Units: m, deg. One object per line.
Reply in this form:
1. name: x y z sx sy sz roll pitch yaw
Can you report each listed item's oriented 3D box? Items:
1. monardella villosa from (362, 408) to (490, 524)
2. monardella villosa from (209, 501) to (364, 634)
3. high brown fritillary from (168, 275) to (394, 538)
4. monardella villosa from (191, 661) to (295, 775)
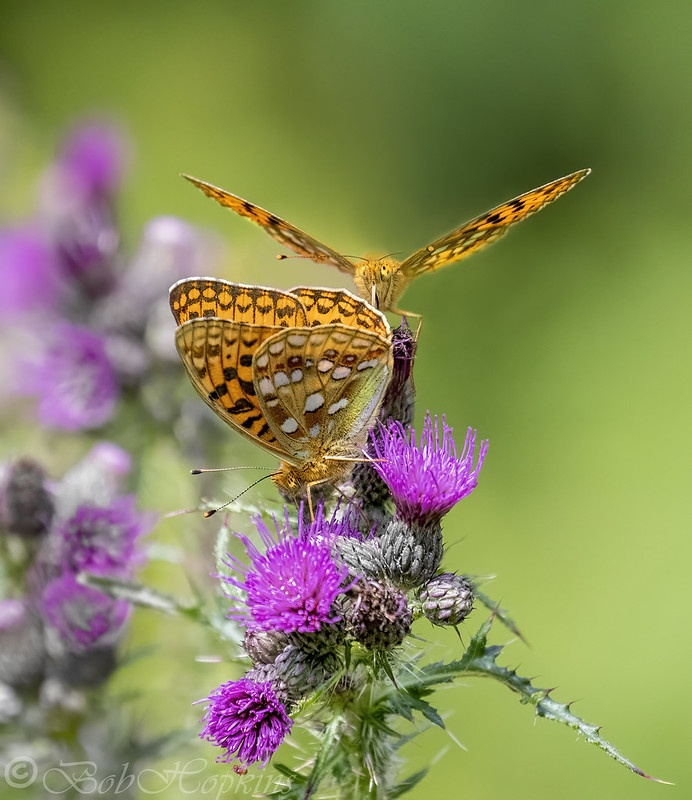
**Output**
1. monardella villosa: 0.250 0.259 3.782 0.413 0.368 0.376 6 -3 -3
2. monardella villosa: -0.177 0.568 3.401 0.437 0.411 0.293 -29 -58 14
3. high brown fritillary: -0.143 0.009 4.019 0.660 0.766 0.945 -7 6 -21
4. monardella villosa: -0.307 1.014 3.271 0.265 0.285 0.179 11 -36 -1
